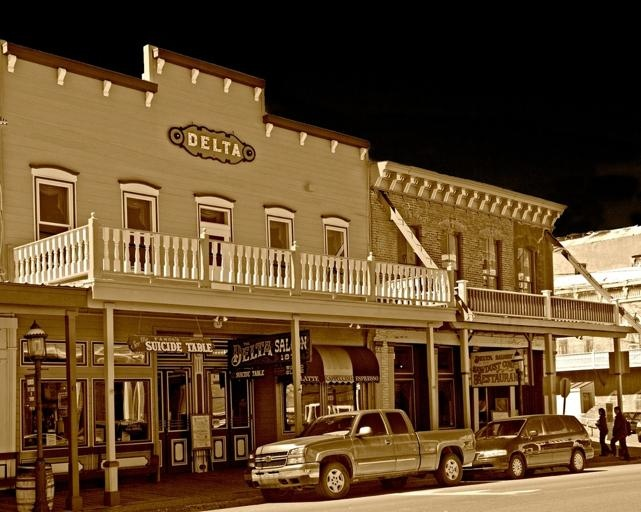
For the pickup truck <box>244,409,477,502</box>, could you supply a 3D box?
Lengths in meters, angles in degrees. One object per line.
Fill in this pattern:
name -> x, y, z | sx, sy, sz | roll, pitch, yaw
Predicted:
pickup truck -> 0.906, 4.560, 29.022 | 4.512, 1.647, 2.179 | 11, -20, -38
